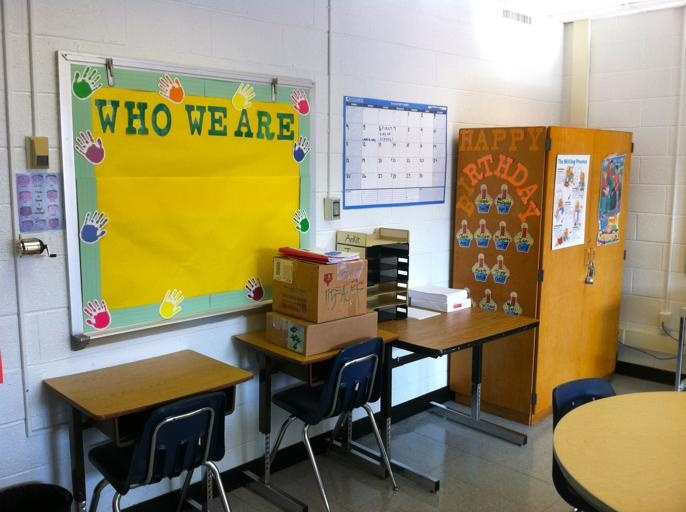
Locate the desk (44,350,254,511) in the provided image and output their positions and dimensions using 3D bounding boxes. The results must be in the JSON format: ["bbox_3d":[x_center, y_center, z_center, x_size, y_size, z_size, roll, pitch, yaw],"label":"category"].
[{"bbox_3d":[-0.975,0.623,2.711,0.721,0.775,0.914,10,14,42],"label":"desk"}]

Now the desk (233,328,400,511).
[{"bbox_3d":[-0.142,0.869,3.608,1.253,1.150,0.889,-6,10,-41],"label":"desk"}]

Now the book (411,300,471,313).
[{"bbox_3d":[0.707,0.385,3.956,0.198,0.049,0.185,-1,3,-43],"label":"book"}]

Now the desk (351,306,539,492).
[{"bbox_3d":[0.658,0.915,3.756,1.161,0.923,0.886,-2,6,-42],"label":"desk"}]

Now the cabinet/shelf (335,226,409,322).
[{"bbox_3d":[0.190,0.133,3.615,0.439,0.609,0.317,-4,9,-39],"label":"cabinet/shelf"}]

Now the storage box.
[{"bbox_3d":[-0.128,0.236,3.230,0.621,0.557,0.451,-10,17,-42],"label":"storage box"}]

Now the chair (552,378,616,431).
[{"bbox_3d":[1.188,0.740,2.732,0.252,0.358,0.293,-1,-8,-8],"label":"chair"}]

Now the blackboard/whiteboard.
[{"bbox_3d":[-0.784,-0.266,3.060,0.134,1.480,1.577,16,17,42],"label":"blackboard/whiteboard"}]
